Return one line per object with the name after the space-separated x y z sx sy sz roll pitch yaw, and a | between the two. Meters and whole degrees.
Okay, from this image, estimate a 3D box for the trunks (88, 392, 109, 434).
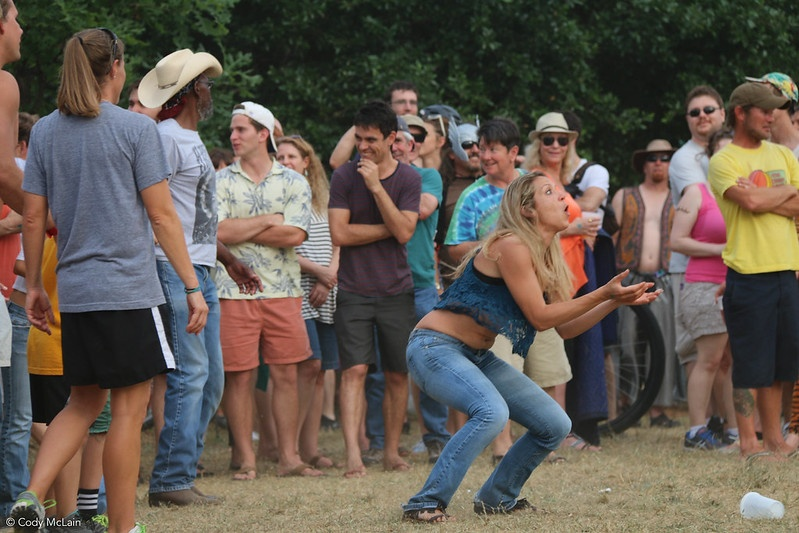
-2.253 1.137 10.770 0.164 0.208 0.131 4 -5 -33 | trunks

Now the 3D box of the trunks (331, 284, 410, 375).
-0.210 0.423 12.464 0.727 0.943 0.453 1 14 -7 | trunks

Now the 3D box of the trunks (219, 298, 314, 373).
-1.175 0.577 12.364 0.822 0.691 0.412 -1 -22 -4 | trunks

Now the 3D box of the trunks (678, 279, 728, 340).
2.666 0.398 12.838 0.174 0.503 0.524 -2 2 -35 | trunks

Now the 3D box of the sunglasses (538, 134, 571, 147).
1.382 -1.131 12.992 0.255 0.122 0.109 -1 1 -6 | sunglasses

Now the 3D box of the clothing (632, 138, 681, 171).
2.613 -1.133 14.855 0.494 0.145 0.495 -1 -18 -2 | clothing

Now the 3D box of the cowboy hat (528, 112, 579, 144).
1.418 -1.268 13.328 0.495 0.223 0.579 -1 -16 -3 | cowboy hat

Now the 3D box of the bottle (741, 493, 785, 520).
2.687 1.786 10.757 0.223 0.215 0.292 -11 11 -39 | bottle

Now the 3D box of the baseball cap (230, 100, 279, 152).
-1.237 -1.198 12.395 0.403 0.393 0.241 -2 2 -24 | baseball cap

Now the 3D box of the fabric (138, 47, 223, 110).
-1.783 -1.489 11.253 0.553 0.273 0.619 -16 20 8 | fabric

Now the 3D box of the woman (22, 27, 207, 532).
-2.134 0.102 10.379 1.297 3.608 0.504 -2 1 -9 | woman

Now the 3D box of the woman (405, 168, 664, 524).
1.019 0.648 11.102 1.989 2.597 1.292 3 -4 -7 | woman

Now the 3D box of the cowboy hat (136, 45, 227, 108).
-1.803 -1.465 11.243 0.418 0.222 0.494 -21 19 9 | cowboy hat

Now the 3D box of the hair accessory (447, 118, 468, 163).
0.514 -1.158 13.470 0.109 0.310 0.255 -8 -1 41 | hair accessory

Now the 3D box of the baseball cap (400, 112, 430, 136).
0.135 -1.316 13.461 0.253 0.113 0.354 12 3 -10 | baseball cap

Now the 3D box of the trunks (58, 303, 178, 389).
-2.050 0.513 10.468 0.849 0.596 0.496 -4 5 17 | trunks

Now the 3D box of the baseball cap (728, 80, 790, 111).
3.027 -1.447 12.268 0.401 0.166 0.260 1 14 11 | baseball cap

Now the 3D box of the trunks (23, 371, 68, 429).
-2.694 1.025 11.033 0.356 0.456 0.270 -11 16 -43 | trunks
